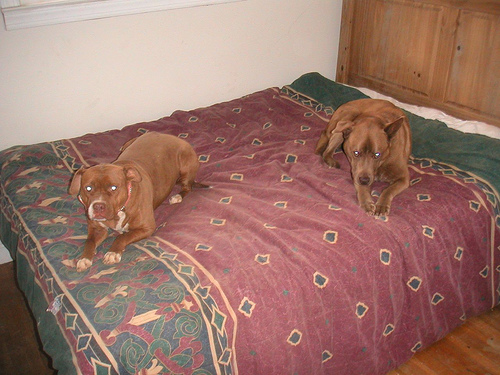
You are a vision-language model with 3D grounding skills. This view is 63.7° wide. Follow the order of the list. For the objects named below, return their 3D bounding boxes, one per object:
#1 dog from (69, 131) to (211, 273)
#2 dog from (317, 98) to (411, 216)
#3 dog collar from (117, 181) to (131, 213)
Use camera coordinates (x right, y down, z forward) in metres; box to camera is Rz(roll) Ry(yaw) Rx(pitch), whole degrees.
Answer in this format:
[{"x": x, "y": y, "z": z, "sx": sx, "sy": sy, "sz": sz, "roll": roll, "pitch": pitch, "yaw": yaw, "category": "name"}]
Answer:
[{"x": -0.901, "y": -0.045, "z": 3.276, "sx": 0.721, "sy": 0.691, "sz": 1.557, "roll": 8, "pitch": 27, "yaw": 10, "category": "dog"}, {"x": 1.064, "y": -0.431, "z": 3.691, "sx": 0.737, "sy": 0.659, "sz": 1.394, "roll": -7, "pitch": 37, "yaw": 3, "category": "dog"}, {"x": -0.889, "y": 0.074, "z": 2.875, "sx": 0.034, "sy": 0.164, "sz": 0.171, "roll": 11, "pitch": 29, "yaw": 23, "category": "dog collar"}]
